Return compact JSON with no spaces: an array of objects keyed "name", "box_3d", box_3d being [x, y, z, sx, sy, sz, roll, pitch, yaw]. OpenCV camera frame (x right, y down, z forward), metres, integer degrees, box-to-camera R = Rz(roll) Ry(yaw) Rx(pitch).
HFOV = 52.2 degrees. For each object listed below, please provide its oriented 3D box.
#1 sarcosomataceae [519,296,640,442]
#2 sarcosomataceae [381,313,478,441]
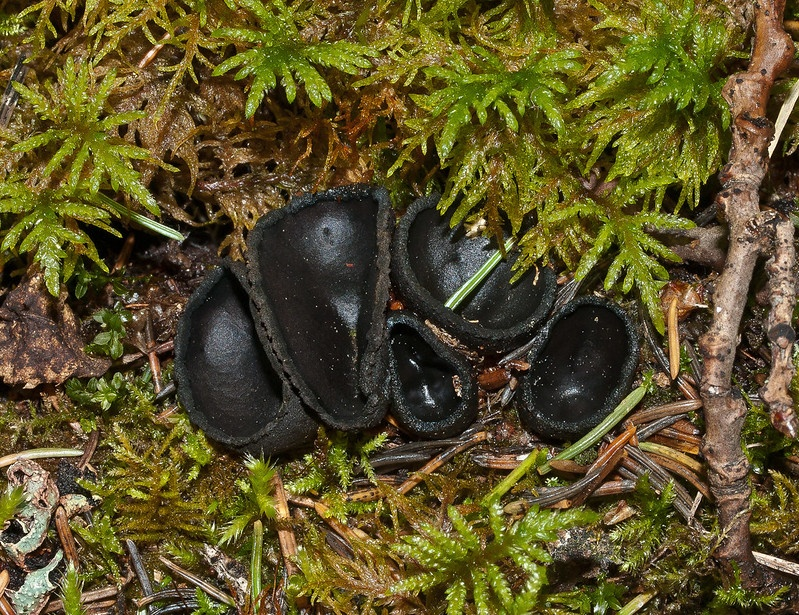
[{"name":"sarcosomataceae","box_3d":[0.811,0.283,3.759,0.644,0.224,0.494,-42,85,-4]},{"name":"sarcosomataceae","box_3d":[0.156,0.310,3.719,0.400,0.220,0.584,-2,84,0]}]
